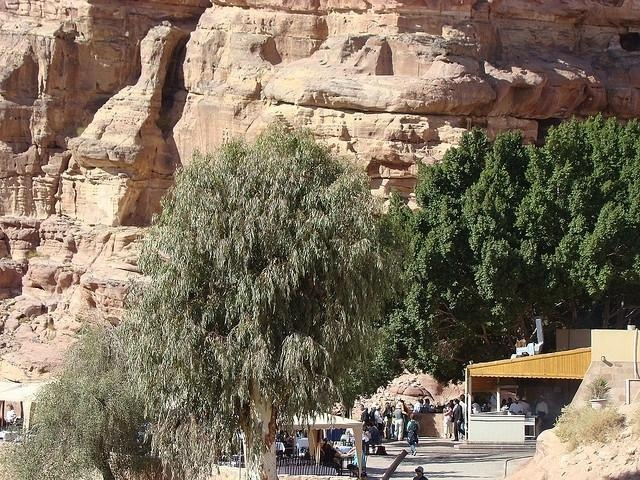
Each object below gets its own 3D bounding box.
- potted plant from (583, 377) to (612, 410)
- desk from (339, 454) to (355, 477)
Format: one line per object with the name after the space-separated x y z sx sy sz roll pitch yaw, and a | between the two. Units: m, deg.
12.713 7.139 65.804 1.043 1.733 1.091 13 -12 -37 | potted plant
1.315 10.832 68.206 0.553 0.788 0.724 -1 -1 -1 | desk
